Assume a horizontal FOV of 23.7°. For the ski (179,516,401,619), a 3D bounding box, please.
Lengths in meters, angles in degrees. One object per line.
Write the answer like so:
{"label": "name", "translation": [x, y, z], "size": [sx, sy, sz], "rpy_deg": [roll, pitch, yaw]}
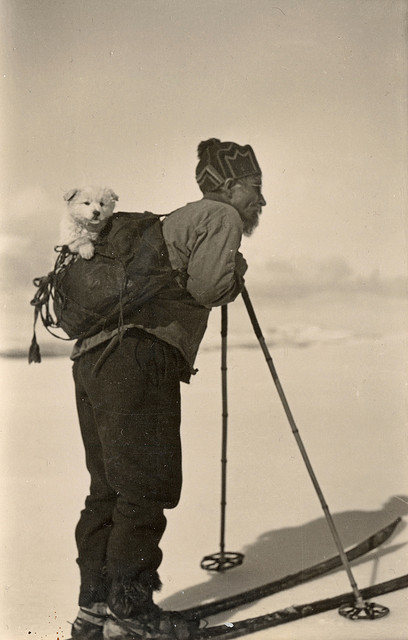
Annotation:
{"label": "ski", "translation": [0.269, 0.883, 3.443], "size": [1.100, 0.087, 0.078], "rpy_deg": [-16, 18, -6]}

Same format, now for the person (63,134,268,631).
{"label": "person", "translation": [-0.184, 0.220, 3.415], "size": [0.581, 1.691, 0.705], "rpy_deg": [7, -18, -24]}

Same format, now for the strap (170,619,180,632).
{"label": "strap", "translation": [-0.102, 1.063, 3.404], "size": [0.040, 0.036, 0.010], "rpy_deg": [19, -6, -14]}

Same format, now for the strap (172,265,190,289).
{"label": "strap", "translation": [-0.075, -0.146, 3.284], "size": [0.061, 0.066, 0.028], "rpy_deg": [2, 18, 25]}

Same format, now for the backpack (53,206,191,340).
{"label": "backpack", "translation": [-0.300, -0.166, 3.326], "size": [0.456, 0.418, 0.185], "rpy_deg": [-9, -18, 28]}

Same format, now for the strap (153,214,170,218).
{"label": "strap", "translation": [-0.148, -0.361, 3.361], "size": [0.078, 0.011, 0.010], "rpy_deg": [3, -38, 19]}
